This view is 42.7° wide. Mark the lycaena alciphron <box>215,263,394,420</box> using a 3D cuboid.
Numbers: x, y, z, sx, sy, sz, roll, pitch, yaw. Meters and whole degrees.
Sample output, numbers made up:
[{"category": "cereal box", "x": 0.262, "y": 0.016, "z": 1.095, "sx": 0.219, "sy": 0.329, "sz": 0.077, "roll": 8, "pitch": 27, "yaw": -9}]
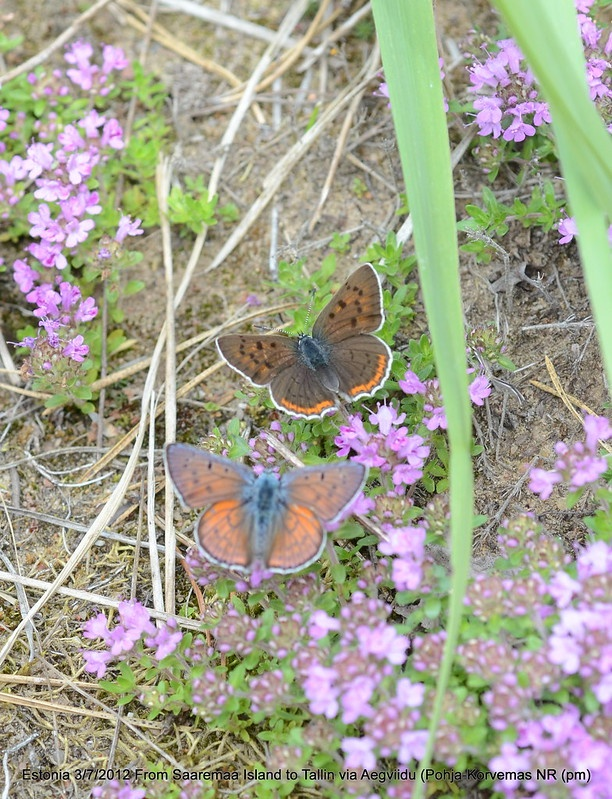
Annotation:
[{"category": "lycaena alciphron", "x": 0.021, "y": -0.232, "z": 3.090, "sx": 0.567, "sy": 0.570, "sz": 0.401, "roll": -25, "pitch": 35, "yaw": -31}]

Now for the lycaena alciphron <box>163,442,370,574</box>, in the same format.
[{"category": "lycaena alciphron", "x": -0.166, "y": 0.344, "z": 2.457, "sx": 0.867, "sy": 0.402, "sz": 0.215, "roll": 4, "pitch": -3, "yaw": 10}]
